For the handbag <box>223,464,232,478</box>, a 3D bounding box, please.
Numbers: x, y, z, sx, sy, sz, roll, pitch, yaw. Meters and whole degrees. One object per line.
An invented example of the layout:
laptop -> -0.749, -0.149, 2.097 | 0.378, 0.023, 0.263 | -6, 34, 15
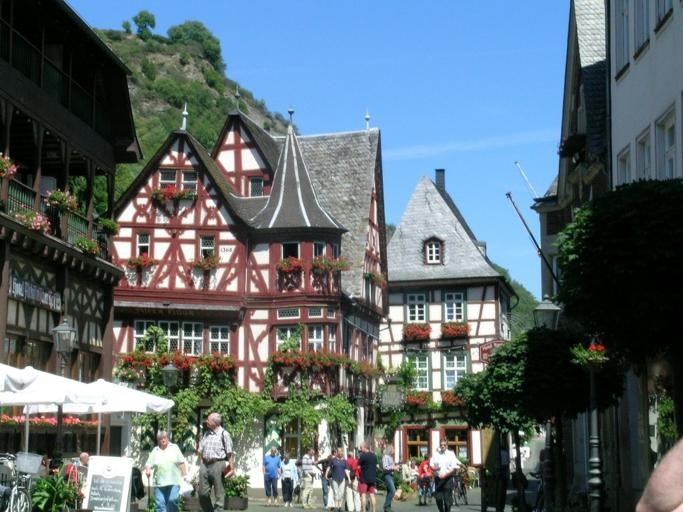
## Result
handbag -> -2.253, 4.271, 26.128 | 0.165, 0.213, 0.227 | 14, -6, 3

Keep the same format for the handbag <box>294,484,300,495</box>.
handbag -> -1.455, 7.587, 42.598 | 0.090, 0.416, 0.256 | 3, -4, -41

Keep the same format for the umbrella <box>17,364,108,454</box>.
umbrella -> -6.027, 2.878, 27.279 | 1.851, 1.563, 2.039 | 6, -11, -2
